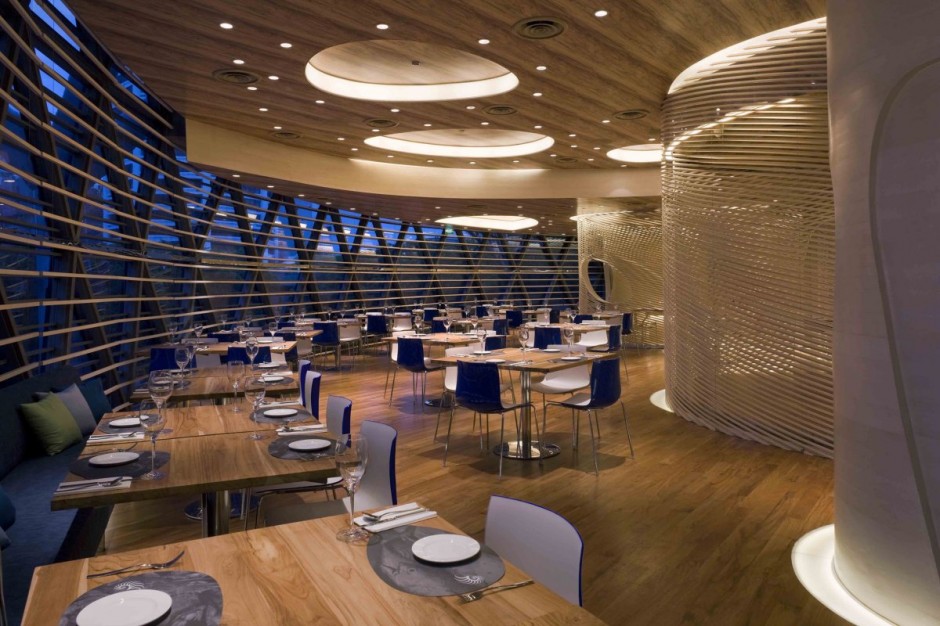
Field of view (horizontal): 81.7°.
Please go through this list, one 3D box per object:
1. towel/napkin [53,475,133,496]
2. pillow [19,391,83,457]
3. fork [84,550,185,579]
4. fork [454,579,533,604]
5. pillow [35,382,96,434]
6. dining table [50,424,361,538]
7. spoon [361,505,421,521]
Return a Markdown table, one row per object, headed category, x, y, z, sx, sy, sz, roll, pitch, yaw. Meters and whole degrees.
| category | x | y | z | sx | sy | sz | roll | pitch | yaw |
| --- | --- | --- | --- | --- | --- | --- | --- | --- | --- |
| towel/napkin | -1.876 | 0.852 | 2.709 | 0.324 | 0.024 | 0.162 | -3 | 8 | -16 |
| pillow | -3.510 | 0.930 | 4.496 | 0.346 | 0.406 | 0.570 | -7 | 7 | -9 |
| fork | -1.349 | 0.962 | 2.085 | 0.561 | 0.064 | 0.079 | 1 | 10 | -5 |
| fork | 0.078 | 1.015 | 1.973 | 0.290 | 0.019 | 0.036 | -2 | 6 | -21 |
| pillow | -3.555 | 0.835 | 4.715 | 0.257 | 0.414 | 0.558 | -10 | 2 | -1 |
| dining table | -1.414 | 0.844 | 2.892 | 1.197 | 0.498 | 1.173 | -2 | 2 | -43 |
| spoon | -0.355 | 0.889 | 2.424 | 0.164 | 0.016 | 0.078 | -1 | 2 | -26 |
